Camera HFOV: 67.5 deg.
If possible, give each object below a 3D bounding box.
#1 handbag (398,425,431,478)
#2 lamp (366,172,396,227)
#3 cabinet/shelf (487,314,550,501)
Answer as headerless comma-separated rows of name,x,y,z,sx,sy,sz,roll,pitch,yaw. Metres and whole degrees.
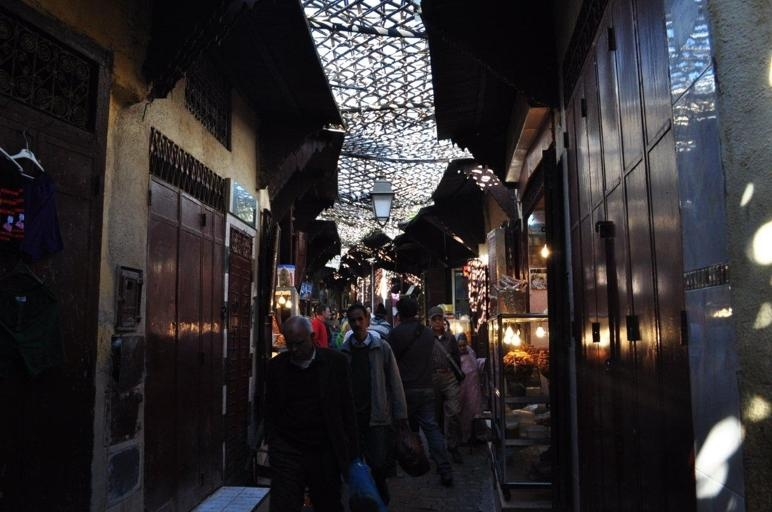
handbag,0.250,1.920,5.674,0.295,0.470,0.199,-3,-11,-4
lamp,-0.094,-1.303,12.491,0.450,1.173,1.145,-3,-11,-1
cabinet/shelf,1.425,1.557,6.068,0.700,1.885,1.455,-5,-11,9
